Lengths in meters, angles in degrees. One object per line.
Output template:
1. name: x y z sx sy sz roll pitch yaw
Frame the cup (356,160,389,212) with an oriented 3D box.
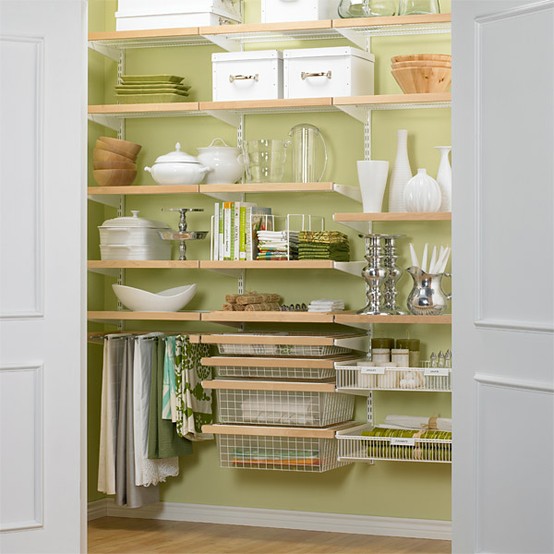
1. cup: 0.440 -0.420 2.835 0.136 0.260 0.143 -1 1 0

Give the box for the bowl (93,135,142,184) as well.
1. bowl: -0.835 -0.595 3.235 0.269 0.200 0.266 6 -6 1

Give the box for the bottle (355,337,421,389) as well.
1. bottle: 0.519 0.390 2.781 0.340 0.177 0.224 -1 -3 14

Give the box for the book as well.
1. book: -0.189 -0.216 3.123 0.316 0.321 0.383 1 1 15

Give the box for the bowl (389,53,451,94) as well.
1. bowl: 0.639 -0.896 2.712 0.240 0.101 0.210 0 -2 5

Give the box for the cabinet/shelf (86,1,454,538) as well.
1. cabinet/shelf: -0.105 -0.126 3.007 1.851 2.819 0.447 0 1 16
